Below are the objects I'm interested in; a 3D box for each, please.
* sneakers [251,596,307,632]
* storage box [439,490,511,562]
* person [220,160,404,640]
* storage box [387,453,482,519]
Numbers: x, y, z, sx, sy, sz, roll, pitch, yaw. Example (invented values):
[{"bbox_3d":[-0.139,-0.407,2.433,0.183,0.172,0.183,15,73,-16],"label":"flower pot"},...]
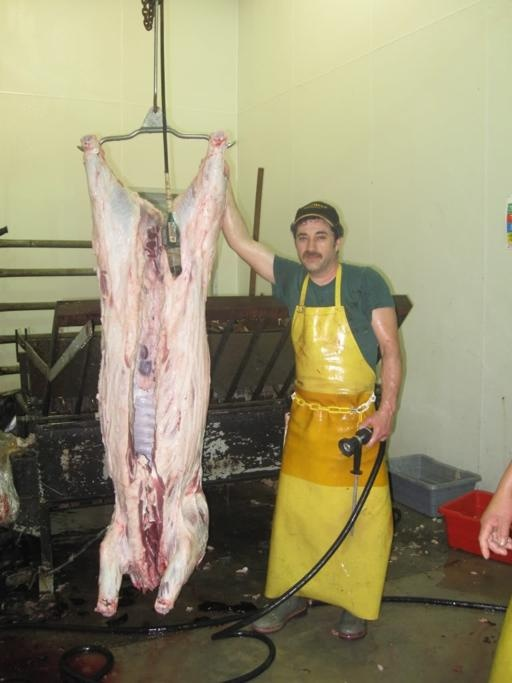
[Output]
[{"bbox_3d":[0.125,1.268,3.519,0.305,0.171,0.109,11,-6,-42],"label":"sneakers"},{"bbox_3d":[1.251,1.037,4.359,0.525,0.212,0.352,-2,1,-44],"label":"storage box"},{"bbox_3d":[0.272,0.384,3.263,0.798,1.933,0.498,15,18,36],"label":"person"},{"bbox_3d":[1.111,0.928,4.873,0.431,0.194,0.561,-5,11,-26],"label":"storage box"}]
